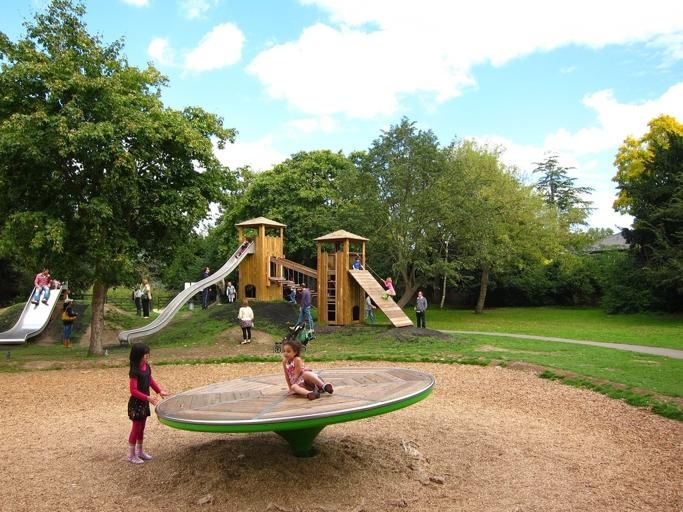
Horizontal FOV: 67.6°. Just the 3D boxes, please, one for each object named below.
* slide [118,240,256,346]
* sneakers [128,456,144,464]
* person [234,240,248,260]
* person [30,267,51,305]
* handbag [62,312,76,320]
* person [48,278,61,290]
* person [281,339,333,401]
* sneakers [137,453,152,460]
[{"bbox_3d":[-6.867,1.389,24.230,1.979,4.148,8.483,1,3,21],"label":"slide"},{"bbox_3d":[-3.465,3.483,8.690,0.303,0.097,0.130,14,-38,-15],"label":"sneakers"},{"bbox_3d":[-5.284,-0.256,27.144,0.420,0.416,1.531,-43,13,24],"label":"person"},{"bbox_3d":[-13.932,1.445,23.578,0.696,1.704,0.974,9,-50,-27],"label":"person"},{"bbox_3d":[-11.336,2.509,21.164,0.394,0.403,0.458,-3,4,-37],"label":"handbag"},{"bbox_3d":[-12.699,1.224,22.462,0.535,0.370,0.764,-4,4,-24],"label":"person"},{"bbox_3d":[-0.581,1.957,8.774,0.995,0.714,0.475,19,-16,-39],"label":"person"},{"bbox_3d":[-3.400,3.469,8.808,0.255,0.106,0.085,4,7,-18],"label":"sneakers"}]
